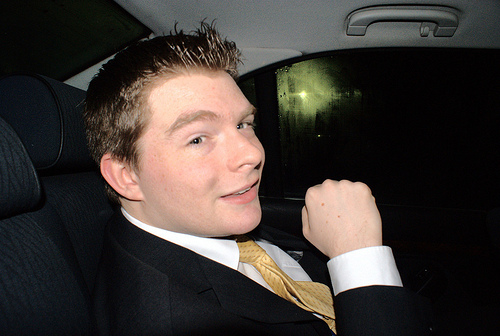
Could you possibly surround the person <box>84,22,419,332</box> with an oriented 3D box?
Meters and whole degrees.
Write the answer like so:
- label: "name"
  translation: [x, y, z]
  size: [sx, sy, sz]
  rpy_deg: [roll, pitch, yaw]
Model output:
- label: "person"
  translation: [-0.139, 0.147, 1.888]
  size: [1.524, 1.509, 0.910]
  rpy_deg: [-6, 23, 7]
